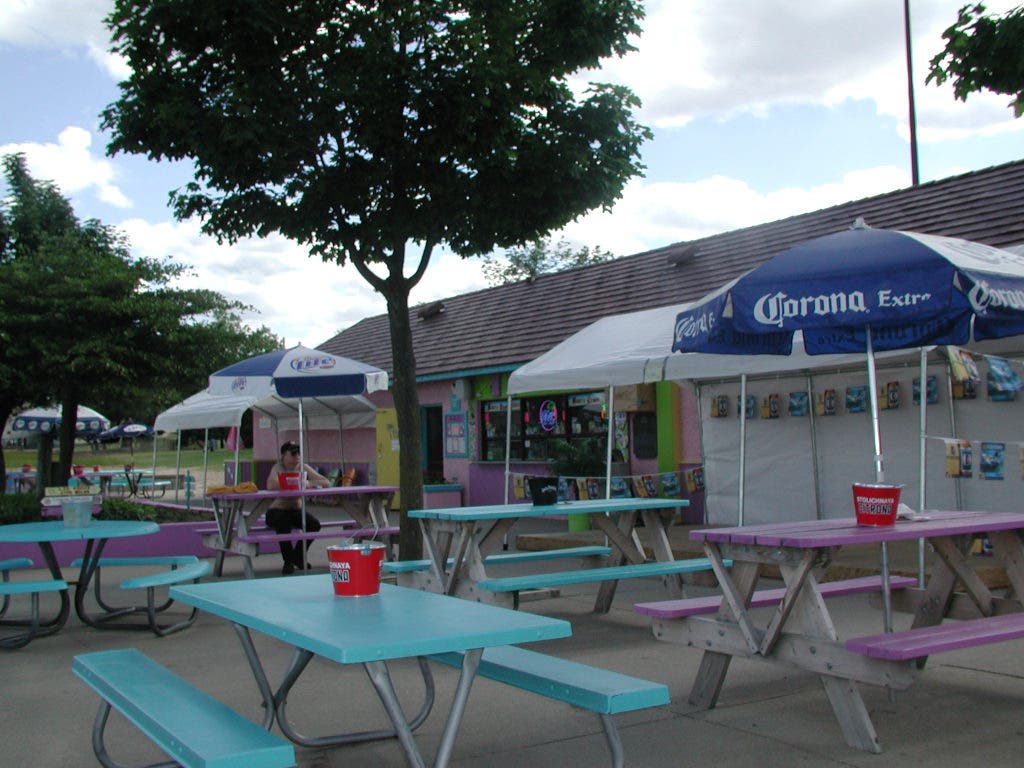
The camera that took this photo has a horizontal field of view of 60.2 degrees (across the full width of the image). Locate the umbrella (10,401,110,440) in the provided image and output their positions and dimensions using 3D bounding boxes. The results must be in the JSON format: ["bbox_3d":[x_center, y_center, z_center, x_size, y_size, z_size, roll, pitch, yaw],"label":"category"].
[{"bbox_3d":[-12.140,0.914,23.942,1.879,0.797,3.270,-2,-5,-2],"label":"umbrella"}]

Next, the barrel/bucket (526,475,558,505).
[{"bbox_3d":[0.239,0.864,7.200,0.246,0.168,0.220,-1,-5,0],"label":"barrel/bucket"}]

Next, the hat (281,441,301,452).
[{"bbox_3d":[-2.752,0.762,10.921,0.165,0.110,0.216,9,-15,-34],"label":"hat"}]

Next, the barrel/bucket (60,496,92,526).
[{"bbox_3d":[-3.656,1.053,7.385,0.231,0.165,0.229,-2,-3,0],"label":"barrel/bucket"}]

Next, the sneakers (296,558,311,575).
[{"bbox_3d":[-2.535,2.212,10.756,0.203,0.231,0.579,2,-12,-19],"label":"sneakers"}]

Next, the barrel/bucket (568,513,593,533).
[{"bbox_3d":[1.029,2.113,13.452,0.361,0.374,0.350,2,1,0],"label":"barrel/bucket"}]

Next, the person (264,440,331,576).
[{"bbox_3d":[-2.654,1.505,10.885,1.131,1.490,1.096,4,-8,-34],"label":"person"}]

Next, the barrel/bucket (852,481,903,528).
[{"bbox_3d":[2.277,0.743,5.456,0.286,0.197,0.265,1,-2,0],"label":"barrel/bucket"}]

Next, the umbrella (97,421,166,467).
[{"bbox_3d":[-16.808,2.712,38.789,3.448,2.129,3.280,0,-4,-8],"label":"umbrella"}]

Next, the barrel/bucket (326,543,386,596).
[{"bbox_3d":[-0.830,0.975,4.631,0.317,0.225,0.314,-3,-12,-1],"label":"barrel/bucket"}]
